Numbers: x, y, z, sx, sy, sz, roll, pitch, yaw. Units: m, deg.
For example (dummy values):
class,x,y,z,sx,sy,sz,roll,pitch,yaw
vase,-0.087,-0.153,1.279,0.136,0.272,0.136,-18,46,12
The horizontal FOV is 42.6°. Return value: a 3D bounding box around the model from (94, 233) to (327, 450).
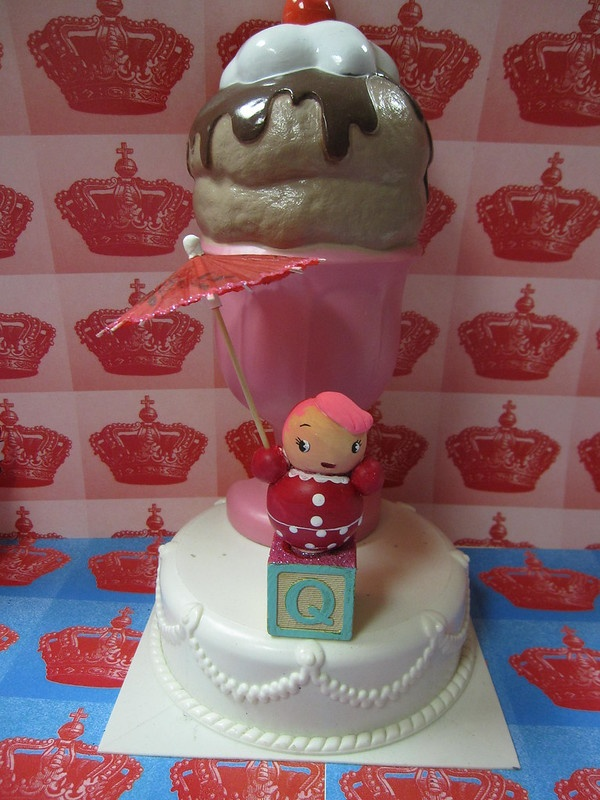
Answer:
class,x,y,z,sx,sy,sz,roll,pitch,yaw
model,-0.131,-0.096,1.314,0.296,0.357,0.339,8,13,6
